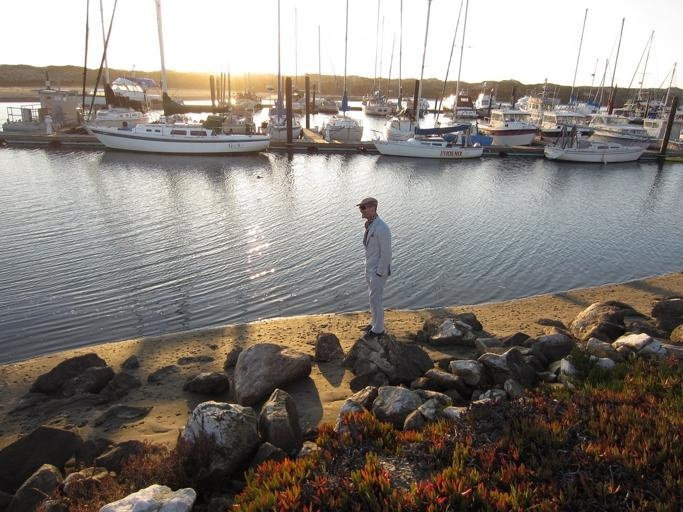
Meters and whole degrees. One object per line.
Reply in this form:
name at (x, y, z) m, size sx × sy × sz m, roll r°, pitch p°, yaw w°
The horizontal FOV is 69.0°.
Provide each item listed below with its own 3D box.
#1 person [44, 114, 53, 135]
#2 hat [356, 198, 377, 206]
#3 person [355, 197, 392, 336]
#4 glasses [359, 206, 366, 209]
person at (-22.459, -10.120, 37.922) m, size 0.622 × 1.199 × 2.267 m, roll -12°, pitch 22°, yaw -28°
hat at (0.466, -0.987, 8.791) m, size 0.514 × 0.158 × 0.345 m, roll 1°, pitch 6°, yaw -6°
person at (0.613, 0.216, 9.065) m, size 0.555 × 2.548 × 0.710 m, roll -3°, pitch 21°, yaw -4°
glasses at (0.374, -0.864, 8.777) m, size 0.064 × 0.075 × 0.119 m, roll -5°, pitch 20°, yaw -12°
